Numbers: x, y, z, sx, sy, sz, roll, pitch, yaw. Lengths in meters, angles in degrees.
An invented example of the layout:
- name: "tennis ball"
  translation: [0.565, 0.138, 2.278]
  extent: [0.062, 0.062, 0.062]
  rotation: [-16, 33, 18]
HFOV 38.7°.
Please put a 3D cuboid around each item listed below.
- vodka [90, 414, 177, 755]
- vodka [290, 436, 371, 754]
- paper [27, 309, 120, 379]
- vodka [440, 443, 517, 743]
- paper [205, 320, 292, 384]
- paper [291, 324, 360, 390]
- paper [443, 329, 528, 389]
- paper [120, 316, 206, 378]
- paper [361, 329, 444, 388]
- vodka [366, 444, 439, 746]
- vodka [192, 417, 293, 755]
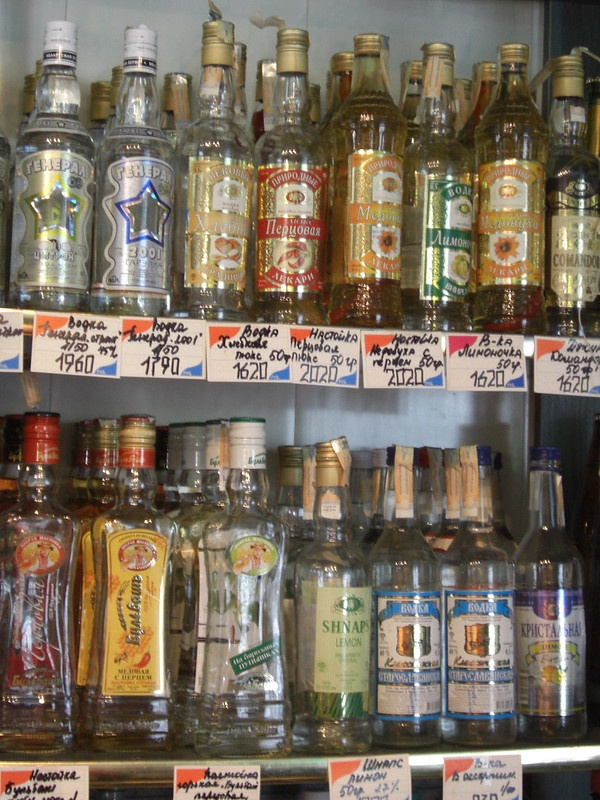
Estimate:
- name: "vodka"
  translation: [-0.178, 0.214, 0.905]
  extent: [0.094, 0.284, 0.075]
  rotation: [-1, -1, -10]
- name: "vodka"
  translation: [0.033, 0.207, 0.930]
  extent: [0.087, 0.329, 0.075]
  rotation: [-1, -1, 0]
- name: "paper"
  translation: [-0.232, -0.061, 0.884]
  extent: [0.075, 0.053, 0.003]
  rotation: [4, -12, -15]
- name: "vodka"
  translation: [0.206, 0.217, 0.999]
  extent: [0.083, 0.325, 0.130]
  rotation: [-2, -1, 13]
- name: "paper"
  translation: [-0.058, -0.053, 0.933]
  extent: [0.071, 0.048, 0.003]
  rotation: [0, -3, -12]
- name: "paper"
  translation: [0.028, -0.051, 0.959]
  extent: [0.075, 0.060, 0.003]
  rotation: [1, -1, -15]
- name: "paper"
  translation: [0.214, -0.047, 1.002]
  extent: [0.071, 0.049, 0.003]
  rotation: [0, -4, -6]
- name: "paper"
  translation: [-0.148, -0.056, 0.908]
  extent: [0.069, 0.049, 0.003]
  rotation: [2, -9, -17]
- name: "paper"
  translation: [0.114, -0.048, 0.981]
  extent: [0.071, 0.048, 0.003]
  rotation: [1, -10, -15]
- name: "vodka"
  translation: [0.117, 0.214, 0.970]
  extent: [0.079, 0.325, 0.100]
  rotation: [-2, -1, 15]
- name: "vodka"
  translation: [-0.062, 0.220, 0.911]
  extent: [0.098, 0.288, 0.088]
  rotation: [-1, -1, -2]
